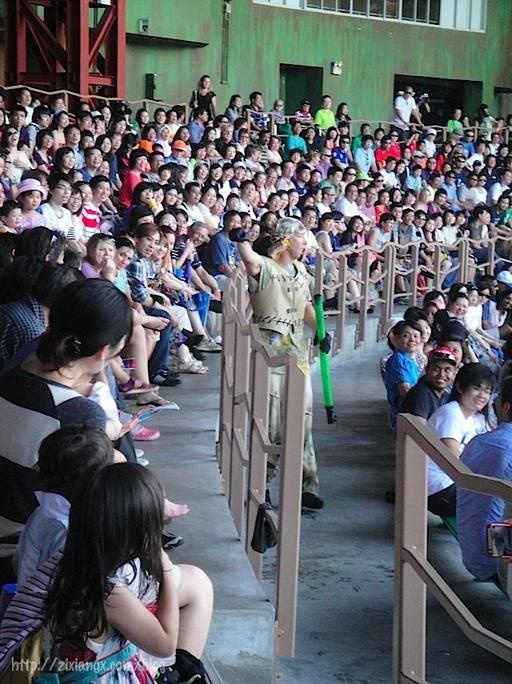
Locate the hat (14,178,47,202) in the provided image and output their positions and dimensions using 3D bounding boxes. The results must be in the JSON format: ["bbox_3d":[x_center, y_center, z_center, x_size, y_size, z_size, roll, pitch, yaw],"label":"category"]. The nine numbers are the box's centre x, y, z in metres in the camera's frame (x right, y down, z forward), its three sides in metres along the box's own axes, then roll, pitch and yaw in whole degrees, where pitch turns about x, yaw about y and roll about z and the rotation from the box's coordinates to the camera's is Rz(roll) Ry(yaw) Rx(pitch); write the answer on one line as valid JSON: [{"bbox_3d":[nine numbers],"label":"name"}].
[{"bbox_3d":[-2.092,-1.421,6.399,0.255,0.154,0.316,-2,0,-2],"label":"hat"}]

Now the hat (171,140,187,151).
[{"bbox_3d":[-1.246,-3.181,11.157,0.200,0.114,0.251,2,-3,-10],"label":"hat"}]

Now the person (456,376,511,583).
[{"bbox_3d":[1.083,0.731,3.272,0.237,1.087,0.421,1,11,16],"label":"person"}]

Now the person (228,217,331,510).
[{"bbox_3d":[0.192,0.219,4.451,0.570,2.006,0.835,-1,11,6],"label":"person"}]

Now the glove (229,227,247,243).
[{"bbox_3d":[-0.104,-0.634,4.101,0.061,0.098,0.158,-8,-4,-26],"label":"glove"}]

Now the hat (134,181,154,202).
[{"bbox_3d":[-1.316,-1.752,8.058,0.261,0.234,0.117,-6,11,-23],"label":"hat"}]

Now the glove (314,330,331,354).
[{"bbox_3d":[0.452,-0.002,4.407,0.051,0.135,0.111,-19,19,-18],"label":"glove"}]
